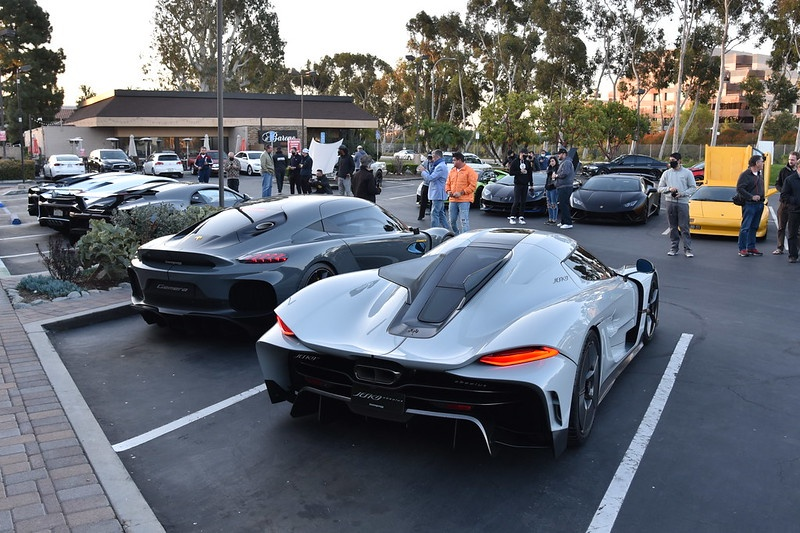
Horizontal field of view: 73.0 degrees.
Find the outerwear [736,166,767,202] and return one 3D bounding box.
[{"bbox_3d":[8.515,-1.961,13.124,0.637,0.822,0.346,3,14,12],"label":"outerwear"}]

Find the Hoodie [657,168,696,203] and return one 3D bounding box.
[{"bbox_3d":[6.770,-2.015,13.278,0.692,0.834,0.875,9,16,32],"label":"Hoodie"}]

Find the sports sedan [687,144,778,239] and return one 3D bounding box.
[{"bbox_3d":[10.134,-2.360,16.716,2.234,2.323,4.749,1,7,28],"label":"sports sedan"}]

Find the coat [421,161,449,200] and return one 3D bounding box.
[{"bbox_3d":[1.047,-2.410,15.008,0.893,1.426,1.049,4,15,8],"label":"coat"}]

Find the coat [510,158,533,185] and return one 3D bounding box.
[{"bbox_3d":[3.954,-3.051,17.345,1.041,0.803,0.490,-13,19,-43],"label":"coat"}]

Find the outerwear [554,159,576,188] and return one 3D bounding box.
[{"bbox_3d":[5.123,-2.842,16.784,0.636,1.108,1.116,5,25,14],"label":"outerwear"}]

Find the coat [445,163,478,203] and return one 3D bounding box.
[{"bbox_3d":[1.588,-2.186,14.207,0.752,0.978,0.635,3,14,9],"label":"coat"}]

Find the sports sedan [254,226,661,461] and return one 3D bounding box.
[{"bbox_3d":[1.025,0.731,5.539,1.845,1.034,3.337,6,12,31],"label":"sports sedan"}]

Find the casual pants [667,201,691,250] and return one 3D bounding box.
[{"bbox_3d":[6.839,-0.980,13.310,0.564,1.227,0.590,6,15,23],"label":"casual pants"}]

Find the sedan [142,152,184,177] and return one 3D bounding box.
[{"bbox_3d":[-17.477,-7.496,39.894,1.656,1.664,3.927,-10,17,-36],"label":"sedan"}]
